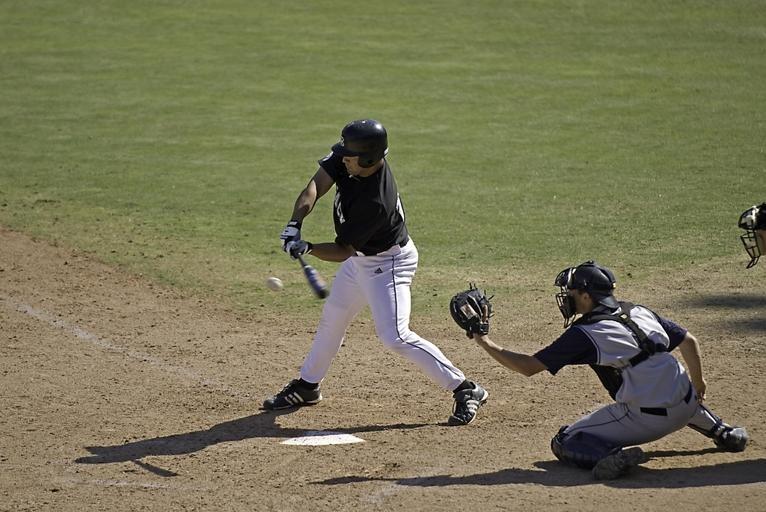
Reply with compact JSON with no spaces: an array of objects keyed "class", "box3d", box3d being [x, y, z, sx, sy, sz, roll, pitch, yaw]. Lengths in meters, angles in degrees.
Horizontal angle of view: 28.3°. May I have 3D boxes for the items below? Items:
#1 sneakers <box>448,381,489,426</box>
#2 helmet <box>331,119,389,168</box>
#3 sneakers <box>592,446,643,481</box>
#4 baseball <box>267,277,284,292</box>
[{"class":"sneakers","box3d":[1.083,1.805,18.711,0.207,0.544,0.293,25,-16,48]},{"class":"helmet","box3d":[-0.260,-1.373,18.416,0.647,0.532,0.347,3,20,-3]},{"class":"sneakers","box3d":[2.813,2.407,17.893,0.752,0.243,0.292,-20,-2,9]},{"class":"baseball","box3d":[-1.338,0.336,18.949,0.183,0.146,0.215,9,4,-22]}]
